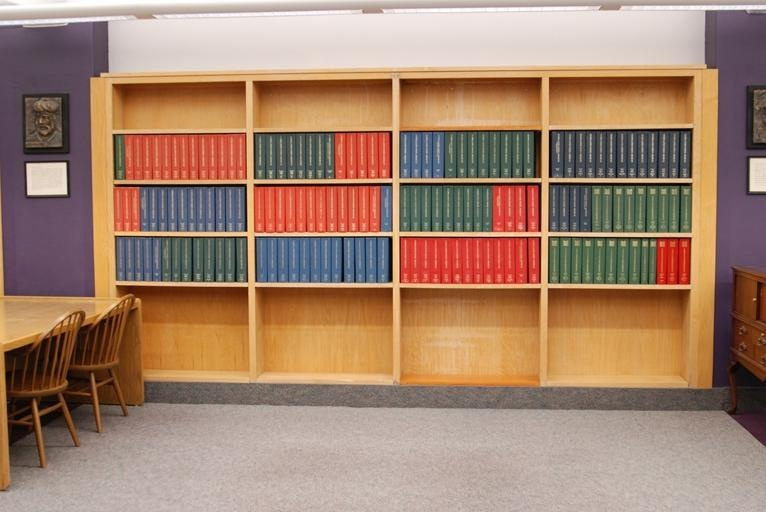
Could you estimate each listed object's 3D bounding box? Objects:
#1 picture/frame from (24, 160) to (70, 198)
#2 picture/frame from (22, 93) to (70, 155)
[{"bbox_3d":[-2.903,-0.680,6.018,0.340,0.273,0.026,0,0,0],"label":"picture/frame"},{"bbox_3d":[-2.890,-1.158,5.977,0.550,0.636,0.063,-1,0,4],"label":"picture/frame"}]
